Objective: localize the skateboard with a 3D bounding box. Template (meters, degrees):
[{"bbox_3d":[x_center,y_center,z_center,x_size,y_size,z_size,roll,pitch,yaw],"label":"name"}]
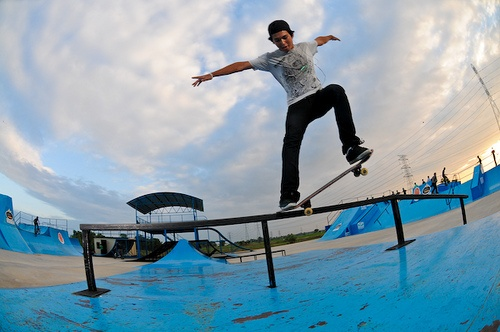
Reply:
[{"bbox_3d":[0.945,0.276,4.130,1.920,0.258,0.224,-39,-8,-3],"label":"skateboard"}]

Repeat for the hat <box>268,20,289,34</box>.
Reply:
[{"bbox_3d":[0.438,-2.170,4.598,0.241,0.143,0.242,5,29,40],"label":"hat"}]

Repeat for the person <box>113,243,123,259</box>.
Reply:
[{"bbox_3d":[-10.057,6.678,22.506,0.544,1.064,1.555,-1,-8,-25],"label":"person"}]
